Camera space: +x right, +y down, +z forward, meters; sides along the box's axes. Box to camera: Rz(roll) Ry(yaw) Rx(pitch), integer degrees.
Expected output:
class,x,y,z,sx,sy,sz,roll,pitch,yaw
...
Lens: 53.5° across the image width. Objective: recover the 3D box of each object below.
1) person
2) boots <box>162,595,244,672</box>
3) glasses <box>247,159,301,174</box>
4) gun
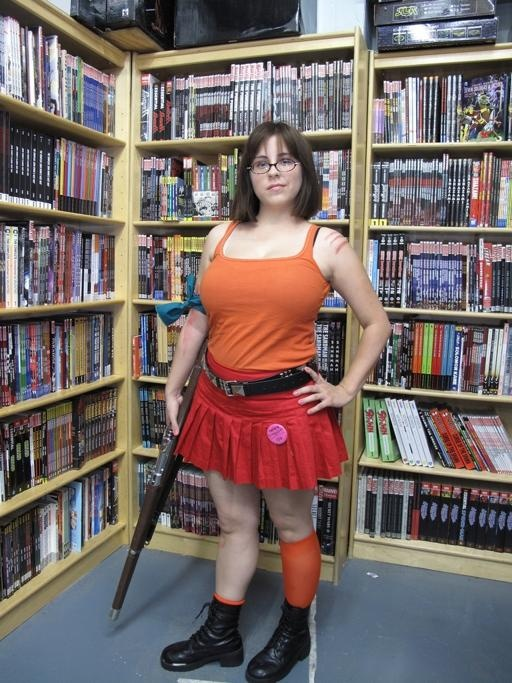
class,x,y,z,sx,sy,sz,roll,pitch,yaw
person,0.007,0.213,1.360,0.652,1.522,0.284,2,10,24
boots,-0.132,0.859,1.553,0.292,0.249,0.139,4,-8,-3
glasses,0.041,-0.427,1.247,0.122,0.037,0.044,0,10,13
gun,-0.372,0.522,1.905,0.068,0.936,0.132,19,10,15
